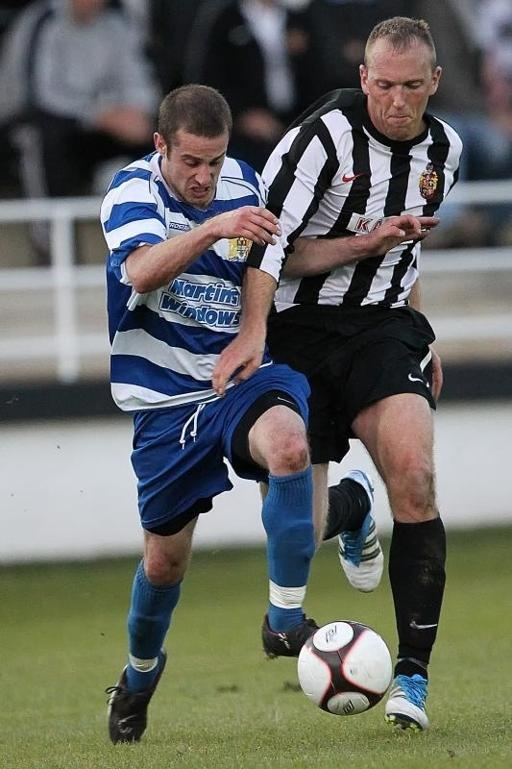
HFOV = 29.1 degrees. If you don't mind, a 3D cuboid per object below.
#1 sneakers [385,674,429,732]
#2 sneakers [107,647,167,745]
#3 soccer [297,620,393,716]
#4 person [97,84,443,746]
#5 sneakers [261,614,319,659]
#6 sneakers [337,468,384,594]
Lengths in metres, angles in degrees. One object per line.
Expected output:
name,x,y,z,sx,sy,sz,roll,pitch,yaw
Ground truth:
sneakers,0.380,0.811,2.499,0.110,0.126,0.151,-4,-6,7
sneakers,-0.366,0.906,2.884,0.086,0.254,0.105,24,-21,-15
soccer,0.240,0.690,2.540,0.245,0.214,0.238,-8,13,27
person,-0.145,0.064,2.680,0.593,1.831,0.821,-3,-6,-9
sneakers,0.086,0.686,2.677,0.222,0.095,0.079,-7,-5,44
sneakers,0.434,0.561,3.702,0.167,0.445,0.196,-5,27,12
